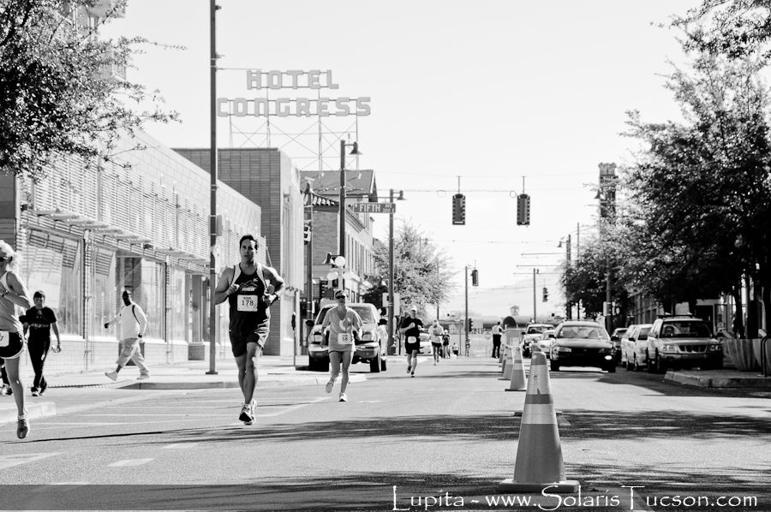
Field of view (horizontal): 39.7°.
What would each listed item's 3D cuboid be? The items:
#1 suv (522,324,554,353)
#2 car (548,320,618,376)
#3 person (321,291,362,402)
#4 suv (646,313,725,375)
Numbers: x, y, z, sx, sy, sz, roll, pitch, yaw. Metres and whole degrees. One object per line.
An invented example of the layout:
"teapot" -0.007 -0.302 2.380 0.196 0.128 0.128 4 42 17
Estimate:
"suv" 8.220 4.514 59.045 1.859 1.812 3.717 0 -8 1
"car" 7.273 3.370 39.341 1.735 1.511 3.869 -1 -3 13
"person" -0.780 1.988 22.961 0.821 2.226 1.161 1 -2 -17
"suv" 10.327 3.142 37.042 1.631 1.662 3.806 -1 -3 10
